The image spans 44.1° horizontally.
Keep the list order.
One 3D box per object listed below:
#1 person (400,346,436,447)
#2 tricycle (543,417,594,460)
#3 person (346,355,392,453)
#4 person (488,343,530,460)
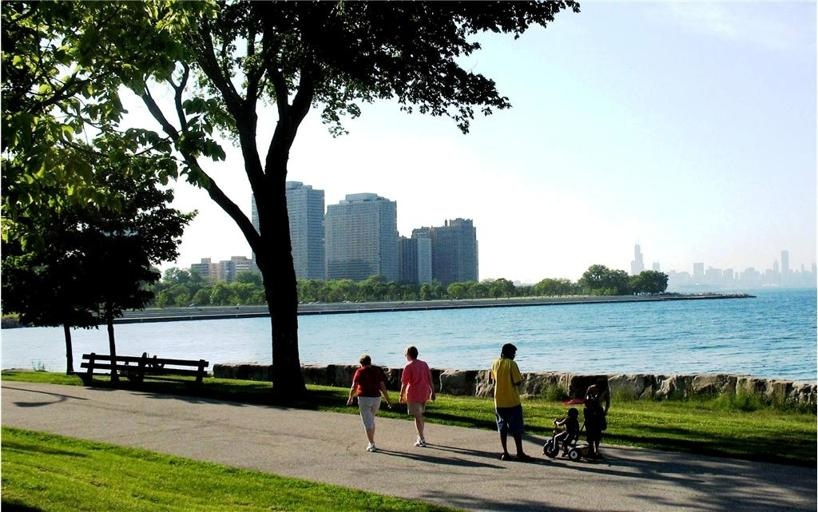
[{"bbox_3d":[0.196,3.636,26.346,0.980,2.475,0.748,0,-6,-33],"label":"person"},{"bbox_3d":[3.914,4.390,24.767,1.336,1.235,0.630,-2,-4,19],"label":"tricycle"},{"bbox_3d":[-1.036,3.783,26.022,1.144,2.410,0.995,-1,0,-9],"label":"person"},{"bbox_3d":[2.463,3.576,24.787,0.945,2.809,0.638,0,-5,15],"label":"person"}]
